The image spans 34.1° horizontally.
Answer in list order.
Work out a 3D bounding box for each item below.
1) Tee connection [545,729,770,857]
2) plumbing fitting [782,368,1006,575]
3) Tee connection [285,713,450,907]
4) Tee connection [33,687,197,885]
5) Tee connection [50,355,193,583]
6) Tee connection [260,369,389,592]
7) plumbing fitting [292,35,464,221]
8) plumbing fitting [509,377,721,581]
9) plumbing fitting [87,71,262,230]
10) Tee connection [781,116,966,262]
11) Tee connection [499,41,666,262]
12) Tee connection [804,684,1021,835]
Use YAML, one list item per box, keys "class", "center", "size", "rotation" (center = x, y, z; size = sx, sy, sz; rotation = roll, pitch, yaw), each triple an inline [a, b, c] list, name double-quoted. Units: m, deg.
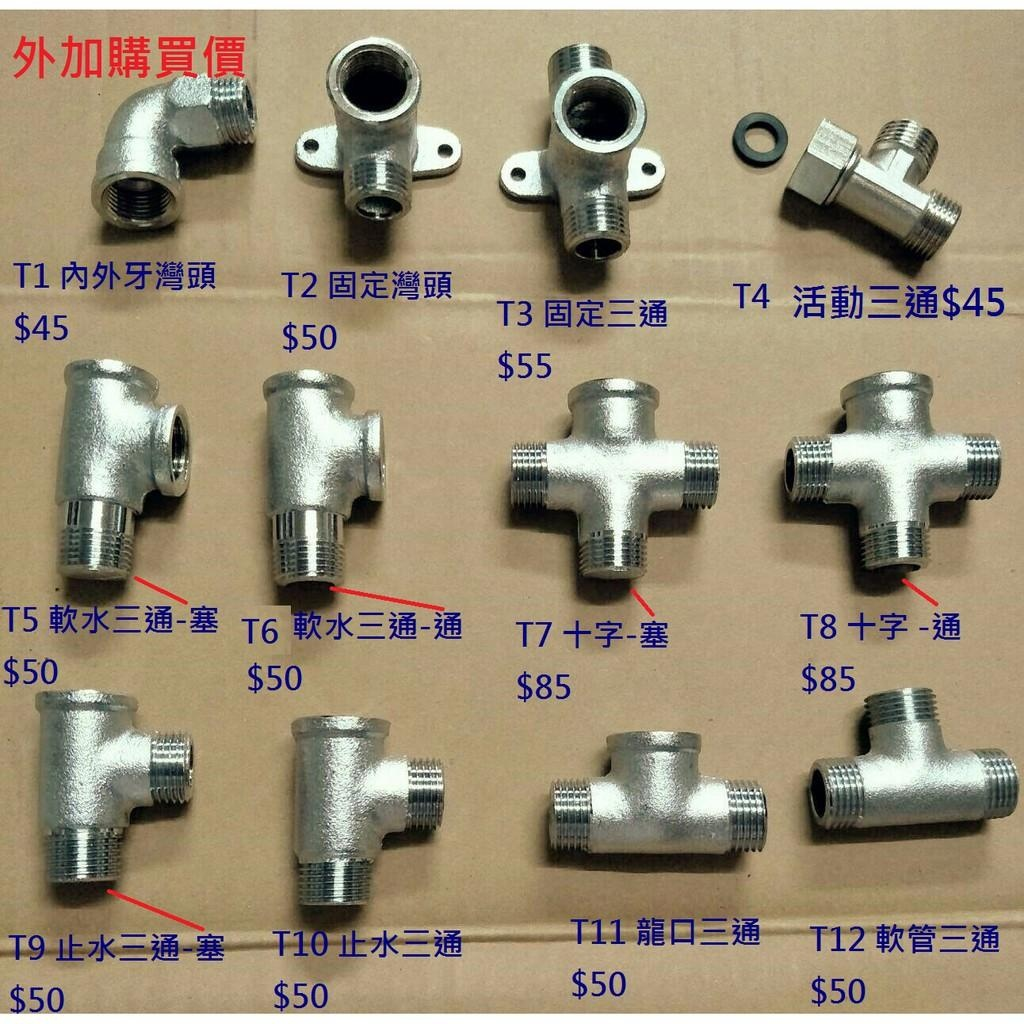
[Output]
- class: "Tee connection"
  center: [0.289, 0.538, 3.131]
  size: [0.420, 0.211, 0.154]
  rotation: [-4, -11, 23]
- class: "plumbing fitting"
  center: [0.757, -0.081, 3.286]
  size: [0.359, 0.363, 0.386]
  rotation: [-1, -5, -8]
- class: "Tee connection"
  center: [-0.272, 0.567, 3.079]
  size: [0.351, 0.386, 0.183]
  rotation: [1, -13, -5]
- class: "Tee connection"
  center: [-0.741, 0.506, 3.058]
  size: [0.299, 0.333, 0.145]
  rotation: [9, -28, -12]
- class: "Tee connection"
  center: [-0.750, -0.077, 3.172]
  size: [0.233, 0.380, 0.193]
  rotation: [5, -27, -5]
- class: "Tee connection"
  center: [-0.345, -0.053, 3.234]
  size: [0.269, 0.407, 0.202]
  rotation: [0, -12, -9]
- class: "plumbing fitting"
  center: [-0.277, -0.740, 3.332]
  size: [0.378, 0.244, 0.274]
  rotation: [9, -21, -1]
- class: "plumbing fitting"
  center: [0.197, -0.045, 3.240]
  size: [0.398, 0.334, 0.147]
  rotation: [1, -18, -1]
- class: "plumbing fitting"
  center: [-0.677, -0.716, 3.373]
  size: [0.322, 0.281, 0.166]
  rotation: [0, -14, -20]
- class: "Tee connection"
  center: [0.762, -0.643, 3.520]
  size: [0.298, 0.316, 0.136]
  rotation: [28, -21, 11]
- class: "Tee connection"
  center: [0.163, -0.740, 3.453]
  size: [0.225, 0.385, 0.510]
  rotation: [-4, -15, -3]
- class: "Tee connection"
  center: [0.747, 0.481, 3.144]
  size: [0.284, 0.181, 0.096]
  rotation: [-3, -6, -5]
